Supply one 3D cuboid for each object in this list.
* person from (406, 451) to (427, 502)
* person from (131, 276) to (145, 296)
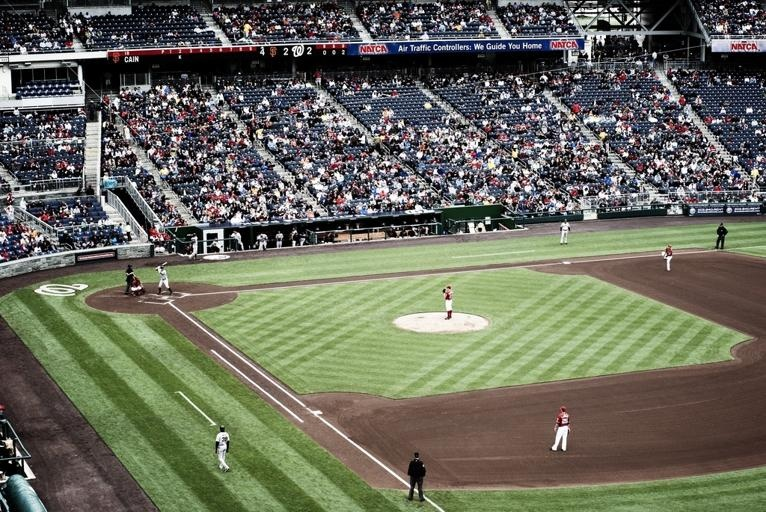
[{"bbox_3d":[1.695,11.225,61.497,0.982,2.558,0.952,-5,13,4],"label":"person"},{"bbox_3d":[-16.720,2.093,81.549,0.919,1.249,0.719,24,44,32],"label":"person"}]
